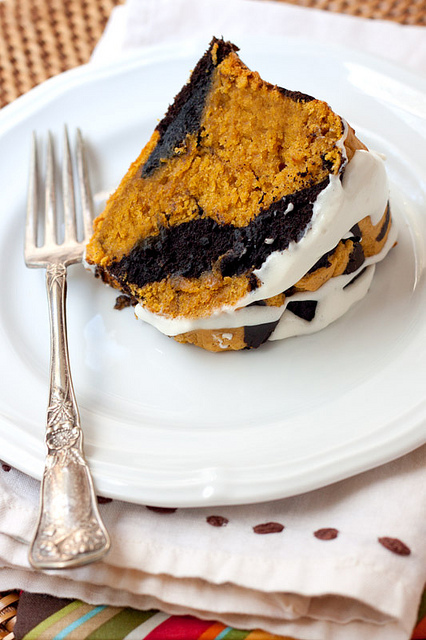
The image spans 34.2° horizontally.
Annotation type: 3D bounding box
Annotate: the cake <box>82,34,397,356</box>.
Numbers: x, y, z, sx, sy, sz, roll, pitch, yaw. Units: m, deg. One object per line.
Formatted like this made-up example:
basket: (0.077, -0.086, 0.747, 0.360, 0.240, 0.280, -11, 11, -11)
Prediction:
cake: (0.047, -0.197, 1.288, 0.506, 0.500, 0.411, 32, 52, 23)
